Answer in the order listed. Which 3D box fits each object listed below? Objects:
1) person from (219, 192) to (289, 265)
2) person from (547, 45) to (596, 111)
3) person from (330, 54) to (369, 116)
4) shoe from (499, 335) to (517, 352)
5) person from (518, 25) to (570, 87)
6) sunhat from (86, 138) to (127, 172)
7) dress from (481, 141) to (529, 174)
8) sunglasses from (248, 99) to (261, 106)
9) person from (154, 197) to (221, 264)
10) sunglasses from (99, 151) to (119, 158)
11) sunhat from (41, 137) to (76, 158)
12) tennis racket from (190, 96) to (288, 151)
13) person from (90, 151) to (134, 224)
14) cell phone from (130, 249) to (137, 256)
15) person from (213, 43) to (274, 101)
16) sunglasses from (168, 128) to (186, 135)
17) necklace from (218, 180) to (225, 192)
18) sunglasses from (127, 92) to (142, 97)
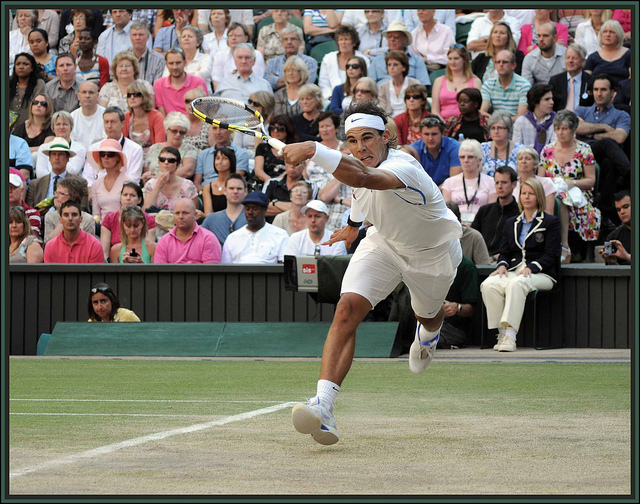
[{"bbox_3d":[-0.780,-0.260,19.158,0.962,0.920,0.554,2,-2,29],"label":"person"},{"bbox_3d":[3.225,-2.112,20.522,0.823,1.115,0.643,2,10,8],"label":"person"},{"bbox_3d":[0.416,-2.246,21.313,0.547,0.828,0.708,-1,-5,17],"label":"person"},{"bbox_3d":[2.176,1.036,18.129,0.224,0.140,0.126,4,-1,-22],"label":"shoe"},{"bbox_3d":[3.000,-2.442,21.082,0.801,1.133,0.687,-2,13,0],"label":"person"},{"bbox_3d":[-2.797,-1.292,20.470,0.420,0.243,0.491,0,-36,7],"label":"sunhat"},{"bbox_3d":[2.216,-1.195,19.844,0.484,0.460,0.174,2,-40,12],"label":"dress"},{"bbox_3d":[-0.887,-1.976,21.148,0.125,0.037,0.120,18,9,-38],"label":"sunglasses"},{"bbox_3d":[-1.643,-0.087,19.139,0.831,1.075,0.579,-2,-6,5],"label":"person"},{"bbox_3d":[-2.751,-1.233,20.192,0.230,0.057,0.091,2,-1,30],"label":"sunglasses"},{"bbox_3d":[-3.433,-1.372,20.630,0.429,0.225,0.623,3,-1,-10],"label":"sunhat"},{"bbox_3d":[-0.828,-1.291,15.440,0.452,0.106,1.368,-19,30,-36],"label":"tennis racket"},{"bbox_3d":[-2.732,-0.848,20.143,0.509,0.787,0.346,3,-1,26],"label":"person"},{"bbox_3d":[-2.280,0.003,19.108,0.086,0.080,0.045,1,-18,-3],"label":"cell phone"},{"bbox_3d":[-1.012,-2.490,22.215,1.042,0.904,0.506,11,18,24],"label":"person"},{"bbox_3d":[-1.892,-1.562,20.613,0.202,0.063,0.059,3,-1,-11],"label":"sunglasses"},{"bbox_3d":[-1.287,-0.835,20.195,0.089,0.122,0.030,-4,-21,3],"label":"necklace"},{"bbox_3d":[-2.538,-2.103,21.271,0.234,0.052,0.054,2,-1,27],"label":"sunglasses"}]
